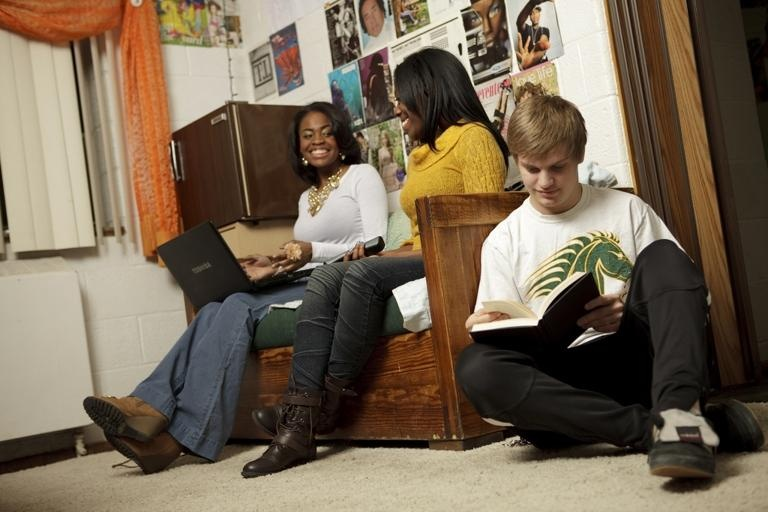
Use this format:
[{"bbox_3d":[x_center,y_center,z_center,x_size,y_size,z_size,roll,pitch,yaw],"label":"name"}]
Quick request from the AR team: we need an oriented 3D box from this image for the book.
[{"bbox_3d":[0.412,0.172,1.650,0.358,0.177,0.198,-8,-4,6],"label":"book"}]

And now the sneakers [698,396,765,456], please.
[{"bbox_3d":[0.923,0.453,1.690,0.092,0.105,0.250,-13,5,1],"label":"sneakers"}]

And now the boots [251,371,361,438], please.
[{"bbox_3d":[-0.296,0.514,2.177,0.365,0.260,0.141,-1,40,0],"label":"boots"}]

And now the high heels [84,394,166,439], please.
[{"bbox_3d":[-0.922,0.586,2.202,0.247,0.187,0.124,-4,-6,-43],"label":"high heels"}]

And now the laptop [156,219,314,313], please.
[{"bbox_3d":[-0.615,0.022,2.574,0.389,0.422,0.305,-9,24,37],"label":"laptop"}]

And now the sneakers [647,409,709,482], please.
[{"bbox_3d":[0.718,0.448,1.498,0.244,0.109,0.107,-1,-9,-45],"label":"sneakers"}]

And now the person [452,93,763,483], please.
[{"bbox_3d":[0.560,0.151,2.026,0.752,1.076,1.088,-19,-6,12],"label":"person"}]

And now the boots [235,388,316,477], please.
[{"bbox_3d":[-0.339,0.595,2.055,0.137,0.256,0.362,9,-3,26],"label":"boots"}]
